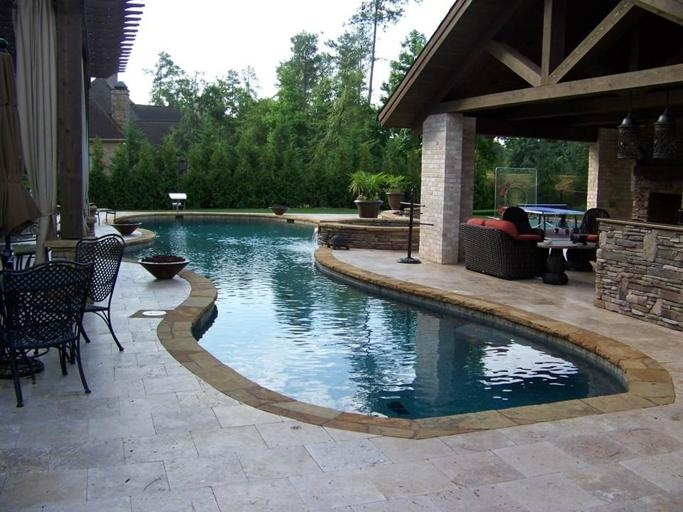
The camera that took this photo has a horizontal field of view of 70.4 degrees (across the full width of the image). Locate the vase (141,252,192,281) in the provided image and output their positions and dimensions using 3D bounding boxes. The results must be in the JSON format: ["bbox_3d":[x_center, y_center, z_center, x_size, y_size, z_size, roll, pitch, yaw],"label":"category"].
[{"bbox_3d":[-3.209,0.218,8.846,0.794,0.397,0.483,0,10,-4],"label":"vase"}]

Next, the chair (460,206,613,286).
[{"bbox_3d":[4.289,-0.263,9.723,2.912,1.132,1.662,-3,7,-21],"label":"chair"}]

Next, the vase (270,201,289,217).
[{"bbox_3d":[-3.290,-2.321,24.050,1.354,0.548,1.151,0,3,1],"label":"vase"}]
